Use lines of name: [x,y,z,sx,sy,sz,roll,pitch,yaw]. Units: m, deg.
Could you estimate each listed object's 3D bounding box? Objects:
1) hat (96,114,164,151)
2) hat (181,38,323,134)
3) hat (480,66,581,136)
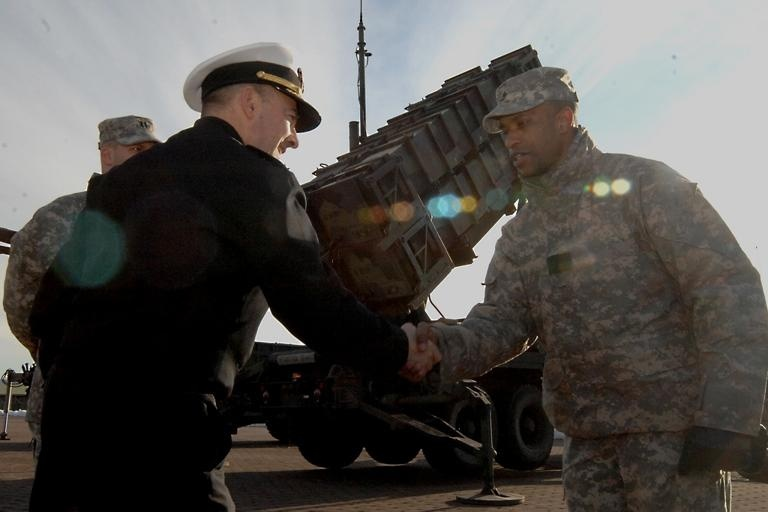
hat: [-1.740,-0.883,5.039,0.463,0.175,0.341,7,17,26]
hat: [-0.613,-0.821,3.392,0.607,0.313,0.483,0,-4,-15]
hat: [0.809,-0.918,4.001,0.500,0.254,0.378,-5,7,-16]
